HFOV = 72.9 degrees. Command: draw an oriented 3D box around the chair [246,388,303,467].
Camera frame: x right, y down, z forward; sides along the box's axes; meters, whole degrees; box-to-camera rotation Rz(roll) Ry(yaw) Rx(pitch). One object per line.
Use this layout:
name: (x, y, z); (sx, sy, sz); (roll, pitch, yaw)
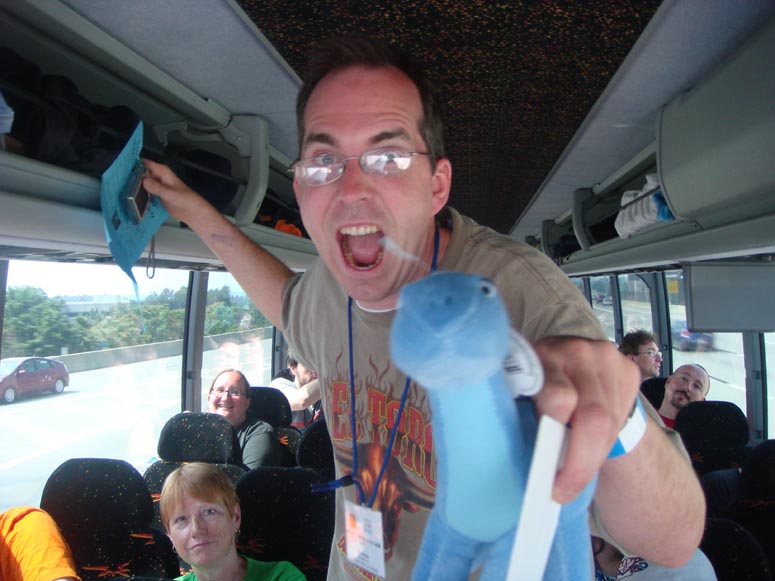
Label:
chair: (-1.102, 1.296, 5.210); (0.596, 0.926, 0.752); (0, -19, -10)

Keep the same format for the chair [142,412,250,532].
chair: (-1.482, 1.443, 4.539); (0.808, 1.158, 0.986); (2, 2, -7)

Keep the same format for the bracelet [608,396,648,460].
bracelet: (0.598, 0.331, 1.280); (0.158, 0.144, 0.059); (4, -6, -39)

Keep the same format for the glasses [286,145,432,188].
glasses: (-0.104, -0.410, 1.768); (0.474, 0.132, 0.114); (0, -4, 9)
